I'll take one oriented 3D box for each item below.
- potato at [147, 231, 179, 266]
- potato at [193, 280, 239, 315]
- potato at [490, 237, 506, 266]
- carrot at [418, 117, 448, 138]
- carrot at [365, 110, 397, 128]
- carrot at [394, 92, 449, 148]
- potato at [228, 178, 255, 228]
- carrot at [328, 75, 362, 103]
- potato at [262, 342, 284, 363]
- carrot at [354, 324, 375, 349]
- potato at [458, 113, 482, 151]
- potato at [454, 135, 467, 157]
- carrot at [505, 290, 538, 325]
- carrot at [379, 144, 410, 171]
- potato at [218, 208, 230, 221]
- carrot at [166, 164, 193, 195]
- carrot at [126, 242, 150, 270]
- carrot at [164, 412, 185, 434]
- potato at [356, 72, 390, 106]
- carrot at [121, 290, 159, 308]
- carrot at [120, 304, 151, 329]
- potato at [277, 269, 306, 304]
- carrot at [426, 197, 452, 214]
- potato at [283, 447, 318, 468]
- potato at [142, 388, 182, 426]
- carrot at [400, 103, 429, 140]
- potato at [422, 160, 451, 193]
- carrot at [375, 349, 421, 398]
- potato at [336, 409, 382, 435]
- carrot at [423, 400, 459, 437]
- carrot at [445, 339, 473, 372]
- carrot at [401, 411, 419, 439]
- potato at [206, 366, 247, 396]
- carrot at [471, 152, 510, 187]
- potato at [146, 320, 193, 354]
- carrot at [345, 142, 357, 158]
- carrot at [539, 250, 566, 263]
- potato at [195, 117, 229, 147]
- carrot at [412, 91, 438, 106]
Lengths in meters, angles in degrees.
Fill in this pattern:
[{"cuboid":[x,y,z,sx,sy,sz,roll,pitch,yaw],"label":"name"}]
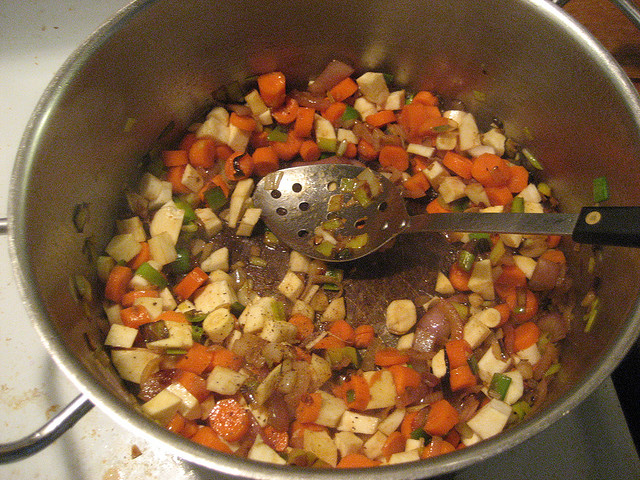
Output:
[{"cuboid":[-0.563,0.025,2.094,0.083,0.078,0.089,-3,71,-34],"label":"potato"},{"cuboid":[-0.360,0.193,2.066,0.132,0.034,0.116,-23,59,-4],"label":"potato"},{"cuboid":[0.608,0.044,2.093,0.053,0.027,0.076,-24,50,15],"label":"potato"},{"cuboid":[0.396,-0.401,2.198,0.079,0.020,0.077,44,98,10],"label":"carrot"},{"cuboid":[0.232,-0.446,2.254,0.076,0.072,0.029,-27,113,-22],"label":"carrot"},{"cuboid":[0.366,-0.435,2.157,0.216,0.100,0.183,-12,100,8],"label":"carrot"},{"cuboid":[-0.276,-0.131,2.192,0.073,0.049,0.185,12,88,6],"label":"potato"},{"cuboid":[0.091,-0.548,2.230,0.104,0.088,0.082,2,100,12],"label":"carrot"},{"cuboid":[-0.150,0.360,1.972,0.071,0.026,0.056,31,84,3],"label":"potato"},{"cuboid":[0.146,0.324,2.056,0.080,0.047,0.057,-35,94,7],"label":"carrot"},{"cuboid":[0.539,-0.387,2.201,0.088,0.043,0.117,-4,89,2],"label":"potato"},{"cuboid":[0.501,-0.330,2.176,0.071,0.020,0.059,7,112,19],"label":"potato"},{"cuboid":[0.688,0.225,2.071,0.111,0.054,0.095,-5,76,1],"label":"carrot"},{"cuboid":[0.273,-0.300,2.283,0.113,0.097,0.097,13,36,9],"label":"carrot"},{"cuboid":[-0.343,-0.090,2.204,0.035,0.012,0.042,-40,71,11],"label":"potato"},{"cuboid":[-0.532,-0.223,2.235,0.066,0.094,0.091,-13,59,32],"label":"carrot"},{"cuboid":[-0.619,0.055,2.052,0.062,0.049,0.086,41,77,-38],"label":"carrot"},{"cuboid":[-0.446,0.558,1.868,0.072,0.017,0.058,-10,82,-14],"label":"carrot"},{"cuboid":[0.197,-0.549,2.203,0.113,0.105,0.041,-6,42,31],"label":"potato"},{"cuboid":[-0.607,0.194,2.022,0.075,0.016,0.069,-21,49,-24],"label":"carrot"},{"cuboid":[-0.605,0.246,1.987,0.082,0.055,0.073,-22,64,-31],"label":"carrot"},{"cuboid":[-0.101,0.160,2.101,0.104,0.030,0.093,24,88,15],"label":"potato"},{"cuboid":[0.419,-0.121,2.185,0.066,0.042,0.051,1,97,6],"label":"carrot"},{"cuboid":[-0.056,0.672,1.879,0.092,0.069,0.042,14,84,1],"label":"potato"},{"cuboid":[-0.475,0.497,1.824,0.100,0.041,0.095,29,71,6],"label":"potato"},{"cuboid":[0.349,-0.438,2.256,0.130,0.111,0.041,-3,38,4],"label":"carrot"},{"cuboid":[0.422,-0.228,2.200,0.061,0.111,0.063,34,81,33],"label":"potato"},{"cuboid":[0.252,0.419,1.977,0.154,0.040,0.134,7,34,-18],"label":"carrot"},{"cuboid":[0.125,0.588,1.943,0.127,0.033,0.069,16,84,1],"label":"potato"},{"cuboid":[0.377,0.559,1.908,0.116,0.044,0.101,-19,59,36],"label":"carrot"},{"cuboid":[0.458,0.379,2.004,0.080,0.033,0.093,-8,84,-2],"label":"carrot"},{"cuboid":[0.278,0.593,1.950,0.055,0.076,0.075,1,45,13],"label":"carrot"},{"cuboid":[-0.303,0.450,1.929,0.107,0.038,0.080,23,84,2],"label":"potato"},{"cuboid":[0.593,-0.246,2.128,0.129,0.068,0.108,5,105,12],"label":"carrot"},{"cuboid":[-0.484,0.313,1.948,0.139,0.060,0.097,-6,84,-1],"label":"potato"},{"cuboid":[0.110,-0.335,2.257,0.055,0.030,0.045,7,103,-12],"label":"carrot"},{"cuboid":[0.801,0.056,2.092,0.055,0.013,0.056,14,34,39],"label":"carrot"},{"cuboid":[-0.386,-0.389,2.170,0.098,0.027,0.098,43,77,-18],"label":"potato"},{"cuboid":[0.374,-0.508,2.218,0.083,0.059,0.047,4,81,9],"label":"carrot"}]
